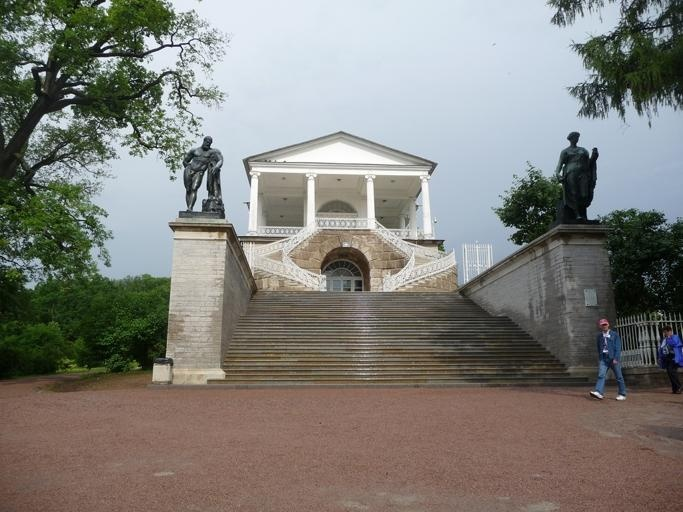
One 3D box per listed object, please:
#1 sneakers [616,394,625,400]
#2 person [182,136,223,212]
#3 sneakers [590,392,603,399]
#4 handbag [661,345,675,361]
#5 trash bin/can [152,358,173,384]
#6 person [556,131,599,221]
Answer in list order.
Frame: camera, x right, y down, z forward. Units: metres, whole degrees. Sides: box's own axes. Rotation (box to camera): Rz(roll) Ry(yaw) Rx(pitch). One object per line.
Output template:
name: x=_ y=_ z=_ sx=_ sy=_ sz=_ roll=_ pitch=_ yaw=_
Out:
sneakers: x=5.694 y=2.921 z=9.927 sx=0.098 sy=0.129 sz=0.317 roll=-7 pitch=-28 yaw=19
person: x=-4.218 y=-2.535 z=14.892 sx=1.118 sy=2.250 sz=1.066 roll=-1 pitch=11 yaw=-16
sneakers: x=5.310 y=2.926 z=10.120 sx=0.270 sy=0.124 sz=0.111 roll=-13 pitch=-52 yaw=36
handbag: x=7.966 y=2.371 z=11.908 sx=0.211 sy=0.300 sz=0.308 roll=-2 pitch=0 yaw=32
trash bin/can: x=-4.700 y=3.082 z=12.920 sx=0.635 sy=0.740 sz=0.594 roll=1 pitch=-20 yaw=-8
person: x=7.244 y=-2.425 z=15.031 sx=1.061 sy=2.779 sz=0.699 roll=8 pitch=12 yaw=30
